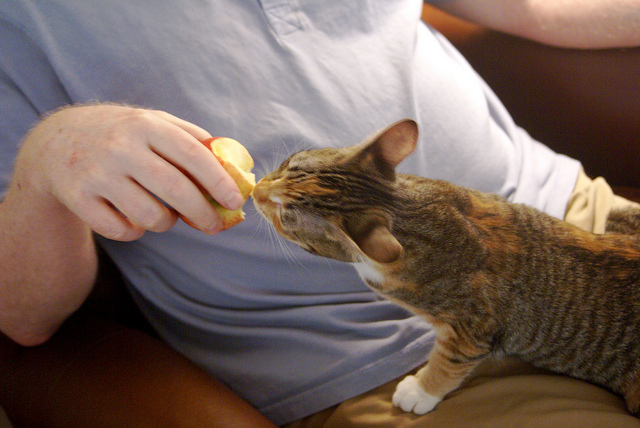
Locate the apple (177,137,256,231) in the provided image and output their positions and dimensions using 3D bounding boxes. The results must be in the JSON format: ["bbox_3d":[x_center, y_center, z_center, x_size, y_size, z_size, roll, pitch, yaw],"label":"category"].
[{"bbox_3d":[-0.350,-0.126,2.138,0.284,0.286,0.286,14,102,28],"label":"apple"}]

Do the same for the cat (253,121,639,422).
[{"bbox_3d":[0.470,0.240,2.076,1.433,0.476,0.797,22,74,9],"label":"cat"}]
